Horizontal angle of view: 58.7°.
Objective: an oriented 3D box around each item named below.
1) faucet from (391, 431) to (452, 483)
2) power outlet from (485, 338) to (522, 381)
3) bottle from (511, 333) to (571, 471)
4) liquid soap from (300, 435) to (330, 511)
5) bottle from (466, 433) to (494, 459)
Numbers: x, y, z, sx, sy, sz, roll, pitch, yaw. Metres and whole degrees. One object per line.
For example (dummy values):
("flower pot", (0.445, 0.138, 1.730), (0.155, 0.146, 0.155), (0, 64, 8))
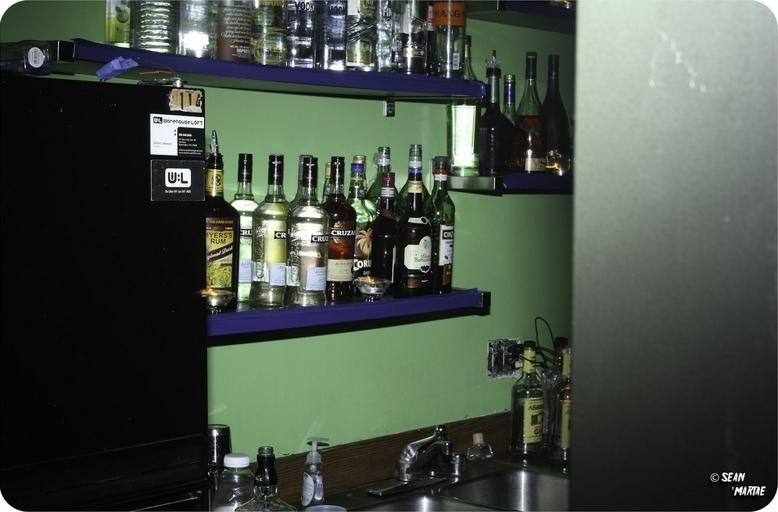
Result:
("faucet", (0.118, 0.617, 2.158), (0.084, 0.109, 0.212), (6, 10, 35))
("power outlet", (0.416, 0.373, 2.553), (0.160, 0.142, 0.041), (1, 5, -34))
("bottle", (0.515, 0.488, 2.366), (0.187, 0.394, 0.228), (1, 5, 10))
("liquid soap", (-0.216, 0.602, 1.982), (0.073, 0.216, 0.240), (-1, 5, -5))
("bottle", (0.320, 0.649, 2.414), (0.096, 0.097, 0.177), (1, 5, 8))
